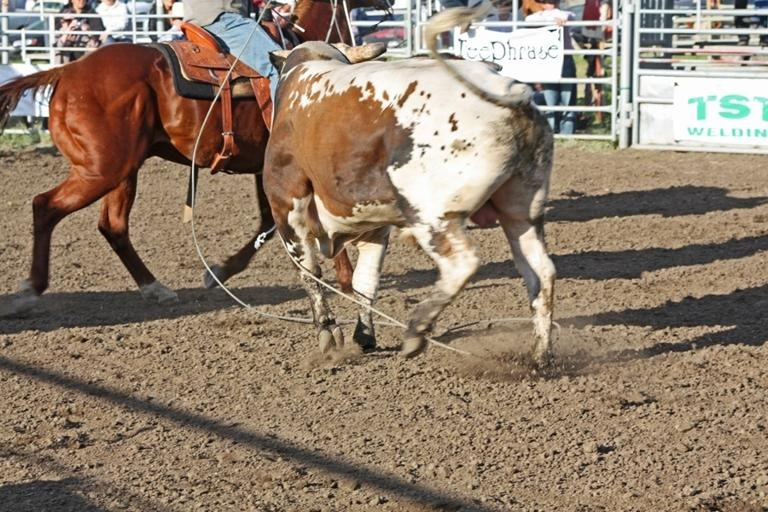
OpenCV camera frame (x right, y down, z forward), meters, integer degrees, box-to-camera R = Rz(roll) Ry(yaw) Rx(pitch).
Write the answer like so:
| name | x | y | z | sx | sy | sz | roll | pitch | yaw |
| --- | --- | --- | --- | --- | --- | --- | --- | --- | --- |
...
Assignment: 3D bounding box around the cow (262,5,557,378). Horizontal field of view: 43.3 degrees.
| name | x | y | z | sx | sy | sz | roll | pitch | yaw |
| --- | --- | --- | --- | --- | --- | --- | --- | --- | --- |
| cow | 0.133 | -0.450 | 6.816 | 1.862 | 2.552 | 0.941 | 13 | 21 | 37 |
